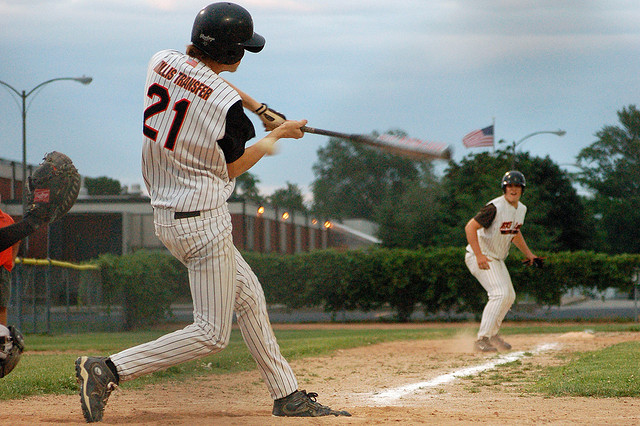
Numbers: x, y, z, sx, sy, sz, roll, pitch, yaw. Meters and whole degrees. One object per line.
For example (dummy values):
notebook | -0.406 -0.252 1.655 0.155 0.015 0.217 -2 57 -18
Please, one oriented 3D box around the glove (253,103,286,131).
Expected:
glove | -0.977 -1.800 24.754 0.599 0.517 0.384 4 11 27

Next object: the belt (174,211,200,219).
belt | -2.467 0.021 23.904 0.446 0.131 0.043 -1 10 -4
